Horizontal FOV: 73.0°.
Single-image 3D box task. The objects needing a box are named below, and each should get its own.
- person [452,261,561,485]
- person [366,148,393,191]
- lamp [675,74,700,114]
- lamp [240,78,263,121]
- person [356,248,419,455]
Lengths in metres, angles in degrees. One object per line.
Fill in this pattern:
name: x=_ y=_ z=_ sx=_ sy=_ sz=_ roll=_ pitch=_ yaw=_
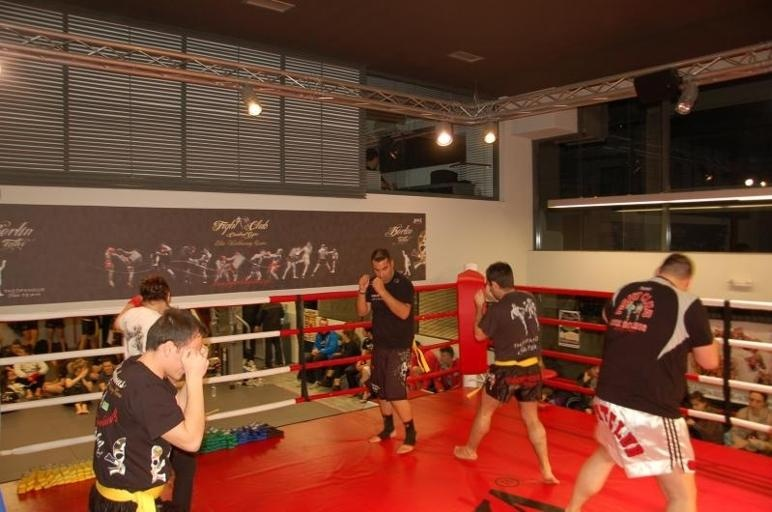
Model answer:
person: x=1.169 y=1.076 z=4.908 sx=0.917 sy=2.010 sz=0.434 roll=1 pitch=11 yaw=10
person: x=-0.095 y=-1.398 z=8.315 sx=0.420 sy=0.691 sz=0.205 roll=-1 pitch=10 yaw=1
lamp: x=3.781 y=-1.982 z=6.432 sx=0.114 sy=0.357 sz=0.101 roll=2 pitch=14 yaw=-21
lamp: x=-1.651 y=-1.924 z=6.377 sx=0.205 sy=0.364 sz=0.366 roll=-3 pitch=10 yaw=-13
person: x=0.077 y=0.945 z=5.496 sx=0.470 sy=2.032 sz=0.813 roll=-7 pitch=12 yaw=-28
